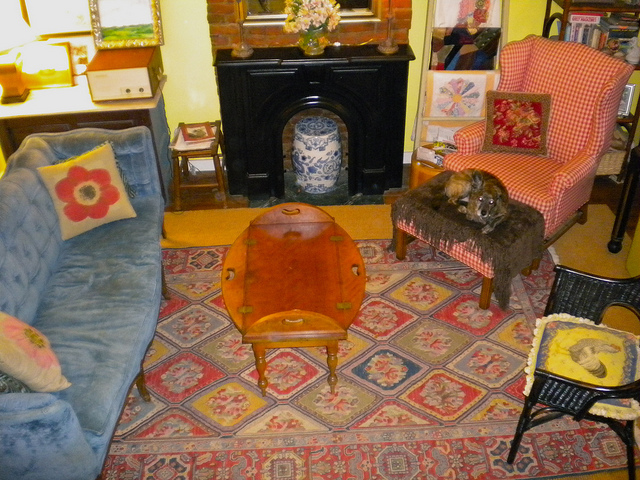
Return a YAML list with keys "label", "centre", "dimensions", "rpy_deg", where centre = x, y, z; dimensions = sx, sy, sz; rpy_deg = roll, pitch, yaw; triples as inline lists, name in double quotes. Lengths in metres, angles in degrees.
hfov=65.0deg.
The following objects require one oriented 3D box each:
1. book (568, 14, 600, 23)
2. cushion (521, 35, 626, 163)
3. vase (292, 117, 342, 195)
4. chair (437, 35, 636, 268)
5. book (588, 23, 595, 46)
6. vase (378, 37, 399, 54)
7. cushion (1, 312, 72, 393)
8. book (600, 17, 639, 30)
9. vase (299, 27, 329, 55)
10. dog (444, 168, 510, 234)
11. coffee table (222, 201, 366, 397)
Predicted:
- label: "book"
  centre: [2.472, -2.078, 4.724]
  dimensions: [0.271, 0.065, 0.075]
  rpy_deg: [-1, 26, -2]
- label: "cushion"
  centre: [2.070, -1.187, 4.282]
  dimensions: [0.332, 0.965, 0.715]
  rpy_deg: [-22, 34, -37]
- label: "vase"
  centre: [-0.037, -0.824, 5.042]
  dimensions: [0.363, 0.739, 0.360]
  rpy_deg: [-22, 34, -37]
- label: "chair"
  centre: [1.774, -0.757, 4.223]
  dimensions: [1.275, 1.488, 1.133]
  rpy_deg: [-41, 59, -9]
- label: "book"
  centre: [2.556, -1.940, 4.760]
  dimensions: [0.032, 0.136, 0.138]
  rpy_deg: [23, 29, 18]
- label: "vase"
  centre: [0.633, -1.790, 4.628]
  dimensions: [0.194, 0.134, 0.165]
  rpy_deg: [1, 26, 4]
- label: "cushion"
  centre: [-1.536, 0.646, 2.708]
  dimensions: [0.271, 0.465, 0.350]
  rpy_deg: [-14, 29, -25]
- label: "book"
  centre: [2.783, -2.024, 4.703]
  dimensions: [0.324, 0.098, 0.120]
  rpy_deg: [11, 28, 22]
- label: "vase"
  centre: [-0.049, -1.776, 4.486]
  dimensions: [0.207, 0.198, 0.193]
  rpy_deg: [13, -8, 2]
- label: "dog"
  centre: [1.243, -0.356, 3.886]
  dimensions: [0.433, 0.349, 0.691]
  rpy_deg: [-7, 36, -5]
- label: "coffee table"
  centre: [-0.195, 0.533, 3.690]
  dimensions: [1.083, 0.937, 1.323]
  rpy_deg: [-2, 43, -1]
